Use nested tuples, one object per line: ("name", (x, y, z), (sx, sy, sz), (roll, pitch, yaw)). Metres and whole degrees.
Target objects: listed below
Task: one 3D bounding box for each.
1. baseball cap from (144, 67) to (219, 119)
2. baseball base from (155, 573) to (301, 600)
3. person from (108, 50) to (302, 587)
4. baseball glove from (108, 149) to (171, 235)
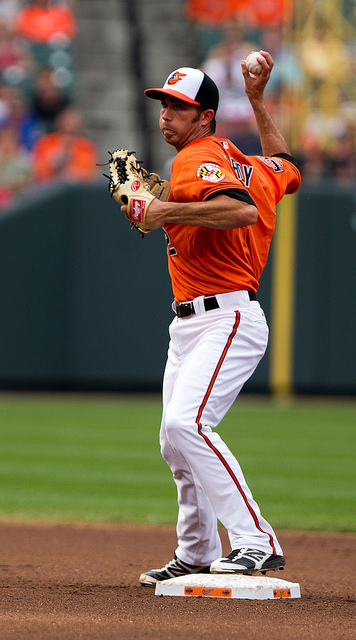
("baseball cap", (0.026, -0.756, 2.660), (0.252, 0.134, 0.178), (-6, 22, -42))
("baseball base", (0.140, 0.806, 2.449), (0.428, 0.074, 0.170), (-1, -5, 12))
("person", (0.086, -0.069, 2.688), (0.536, 1.903, 0.705), (-1, -5, 18))
("baseball glove", (-0.134, -0.416, 2.611), (0.202, 0.276, 0.087), (2, -26, -32))
